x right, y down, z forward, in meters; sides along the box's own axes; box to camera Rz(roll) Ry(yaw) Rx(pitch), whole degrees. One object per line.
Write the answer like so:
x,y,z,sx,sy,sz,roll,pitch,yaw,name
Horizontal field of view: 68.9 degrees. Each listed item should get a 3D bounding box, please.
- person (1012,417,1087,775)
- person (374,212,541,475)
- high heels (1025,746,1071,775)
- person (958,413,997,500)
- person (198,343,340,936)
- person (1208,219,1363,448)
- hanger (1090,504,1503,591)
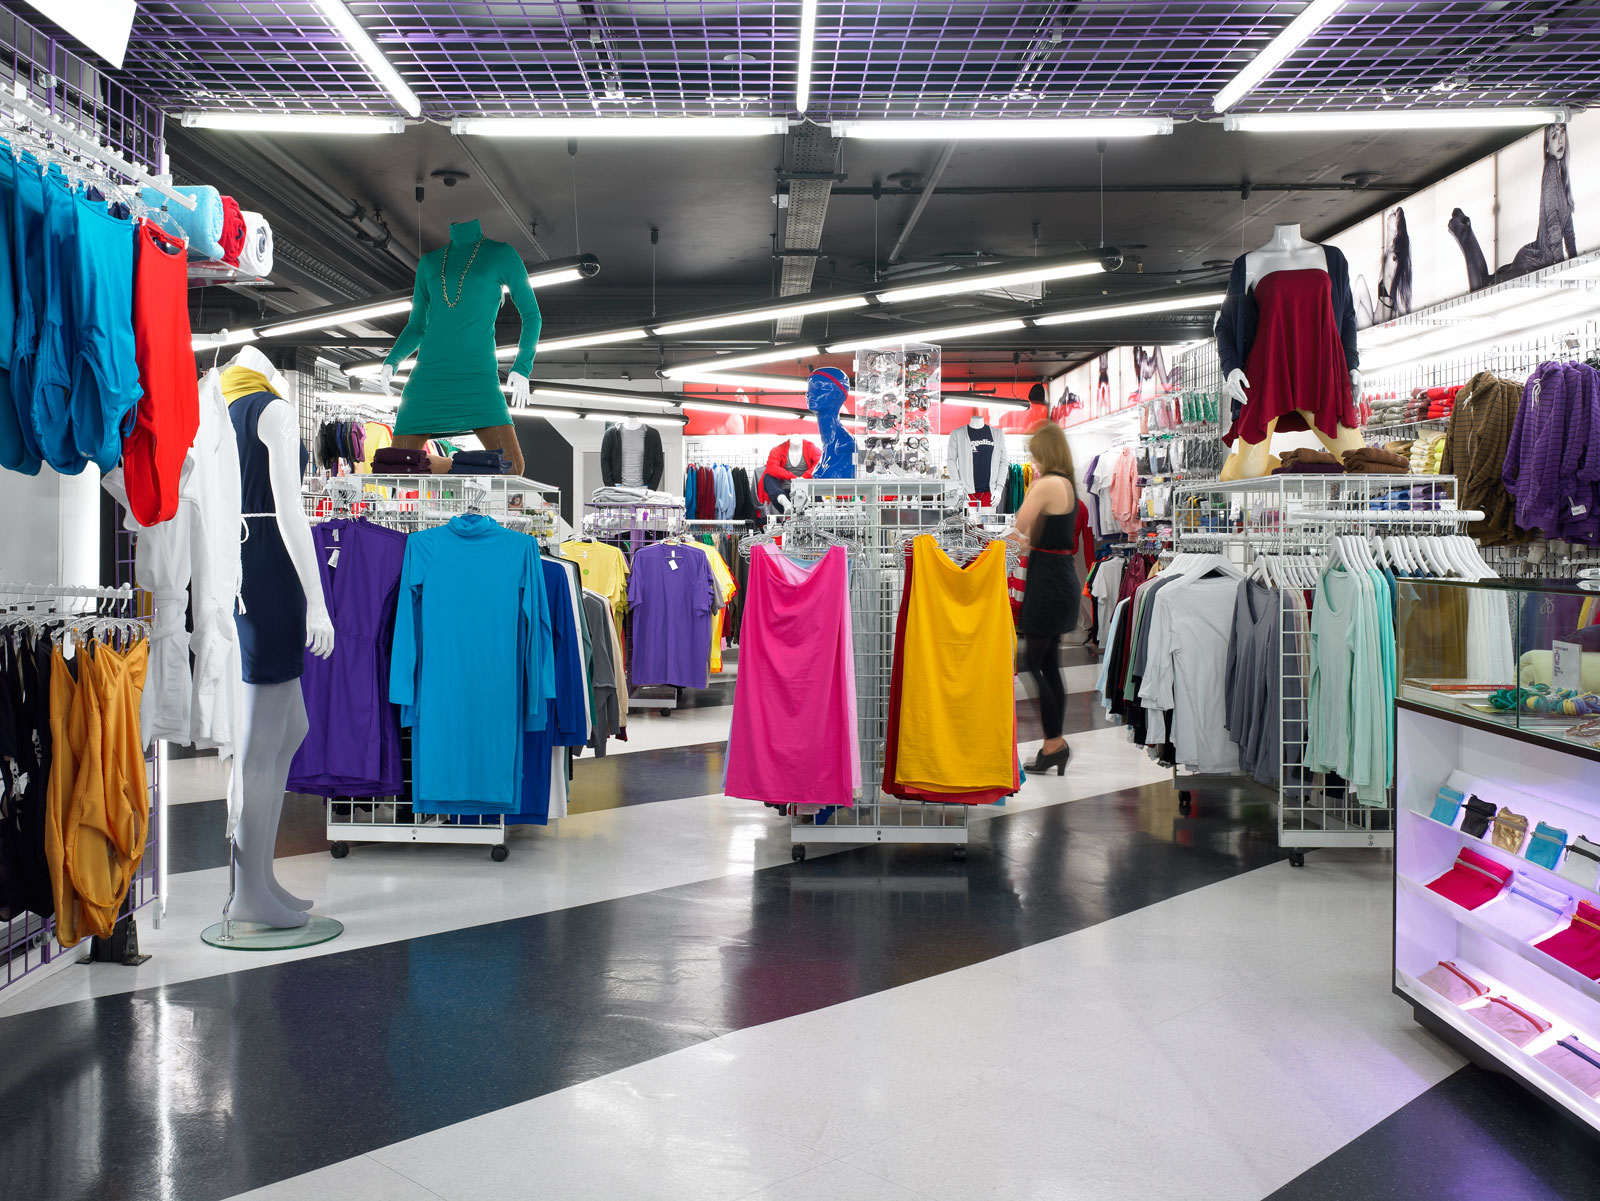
1.528,0.027,7.196,0.361,2.229,0.850,1,6,13,person
-1.747,-1.346,6.047,0.751,1.358,0.917,-2,6,-19,person
1.547,1.006,7.343,0.296,0.215,0.161,2,1,10,high heels
1.955,-1.601,12.647,0.310,0.803,0.573,1,6,8,person
-2.030,0.257,4.548,0.439,2.098,0.203,1,6,12,person
2.628,-1.389,6.249,0.735,1.234,0.435,2,6,17,person
2.639,-0.252,5.603,1.123,0.383,0.857,1,6,3,hanger
